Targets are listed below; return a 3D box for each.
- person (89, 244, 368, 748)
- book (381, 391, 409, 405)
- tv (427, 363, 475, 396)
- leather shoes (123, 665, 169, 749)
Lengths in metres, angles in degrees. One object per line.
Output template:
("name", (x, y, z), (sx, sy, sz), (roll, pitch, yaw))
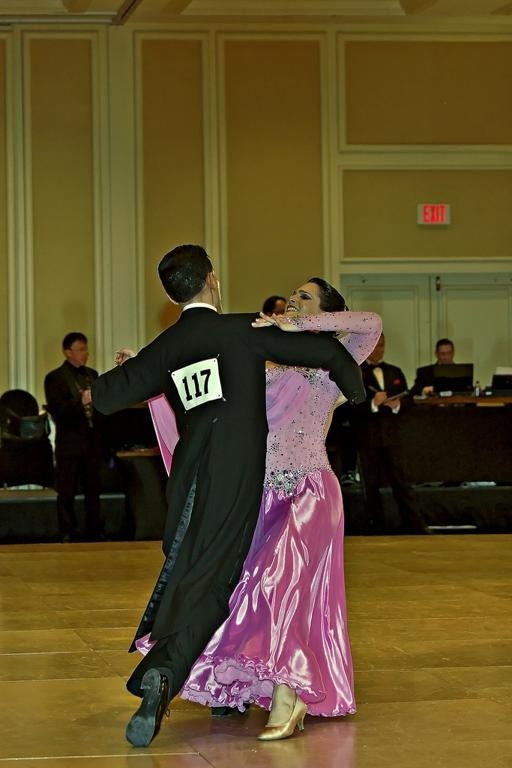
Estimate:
("person", (-0.065, 0.224, 1.751), (0.593, 1.084, 0.262), (1, -4, -21))
("book", (1.138, 0.136, 5.995), (0.207, 0.109, 0.063), (1, -5, -24))
("tv", (1.650, -0.028, 6.206), (0.377, 0.238, 0.252), (-2, 4, 14))
("leather shoes", (-0.224, 0.680, 1.549), (0.090, 0.165, 0.055), (0, -4, -7))
